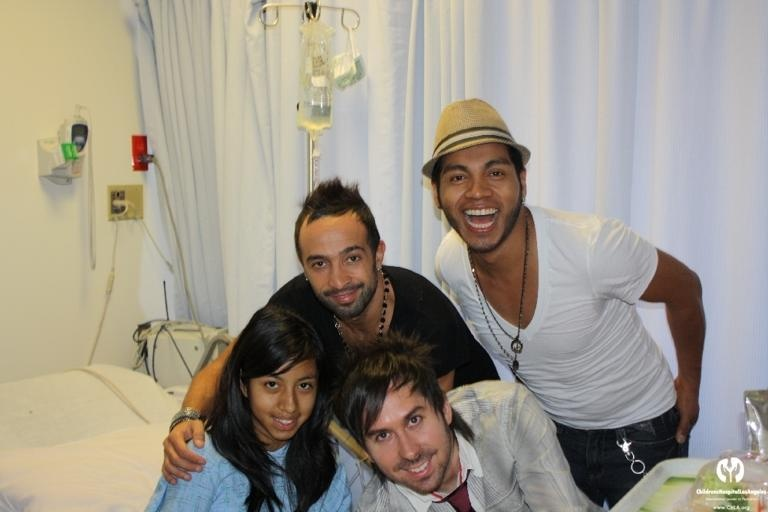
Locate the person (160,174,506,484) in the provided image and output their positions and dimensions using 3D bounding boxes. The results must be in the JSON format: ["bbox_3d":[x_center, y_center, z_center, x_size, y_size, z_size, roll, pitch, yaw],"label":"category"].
[{"bbox_3d":[-0.138,0.500,2.927,1.427,1.308,1.066,4,50,3],"label":"person"}]

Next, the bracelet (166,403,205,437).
[{"bbox_3d":[-0.781,0.649,2.398,0.154,0.193,0.069,3,4,-11],"label":"bracelet"}]

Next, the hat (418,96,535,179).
[{"bbox_3d":[0.326,-0.484,2.324,0.306,0.192,0.345,-17,-22,6],"label":"hat"}]

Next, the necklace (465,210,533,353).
[{"bbox_3d":[0.461,0.085,2.405,0.187,0.663,0.018,-11,-8,23],"label":"necklace"}]

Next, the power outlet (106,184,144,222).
[{"bbox_3d":[-1.508,-0.306,3.546,0.030,0.213,0.271,1,6,18],"label":"power outlet"}]
